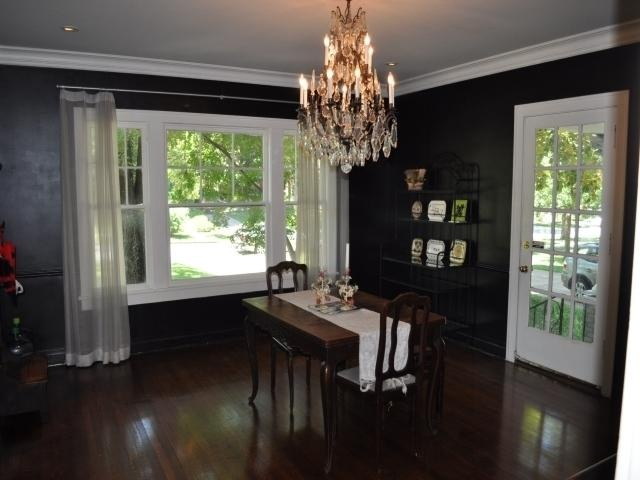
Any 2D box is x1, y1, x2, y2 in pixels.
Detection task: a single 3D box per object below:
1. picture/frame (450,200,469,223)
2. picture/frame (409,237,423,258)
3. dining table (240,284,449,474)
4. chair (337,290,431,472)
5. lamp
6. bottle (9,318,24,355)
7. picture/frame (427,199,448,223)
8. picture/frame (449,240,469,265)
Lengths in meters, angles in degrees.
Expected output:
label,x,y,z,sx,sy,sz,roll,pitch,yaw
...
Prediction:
label,x,y,z,sx,sy,sz,roll,pitch,yaw
picture/frame,1.598,-0.332,5.455,0.033,0.340,0.233,10,-10,-27
picture/frame,1.219,0.101,6.031,0.085,0.222,0.157,8,2,-37
dining table,0.103,0.733,4.048,1.175,1.116,1.632,-2,5,-27
chair,0.544,0.983,3.662,0.766,1.301,0.478,-6,14,-24
lamp,0.217,-1.142,3.594,0.731,1.233,0.481,-9,15,-35
bottle,-3.096,0.964,4.830,0.120,0.332,0.256,-9,15,-33
picture/frame,1.401,-0.347,5.676,0.036,0.294,0.279,10,-9,-29
picture/frame,1.603,0.143,5.510,0.085,0.292,0.183,8,0,-35
